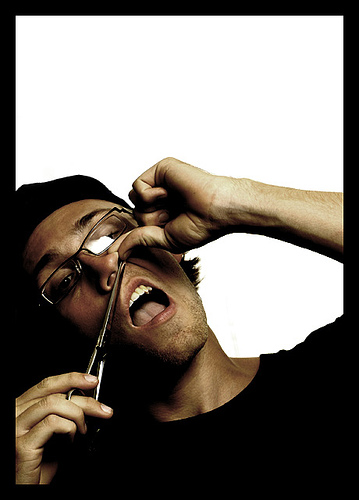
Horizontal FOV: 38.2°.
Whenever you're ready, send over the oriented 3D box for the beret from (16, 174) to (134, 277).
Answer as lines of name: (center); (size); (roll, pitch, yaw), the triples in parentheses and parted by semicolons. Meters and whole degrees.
beret: (-0.286, -0.073, 1.359); (0.290, 0.226, 0.136); (-5, 37, -17)
